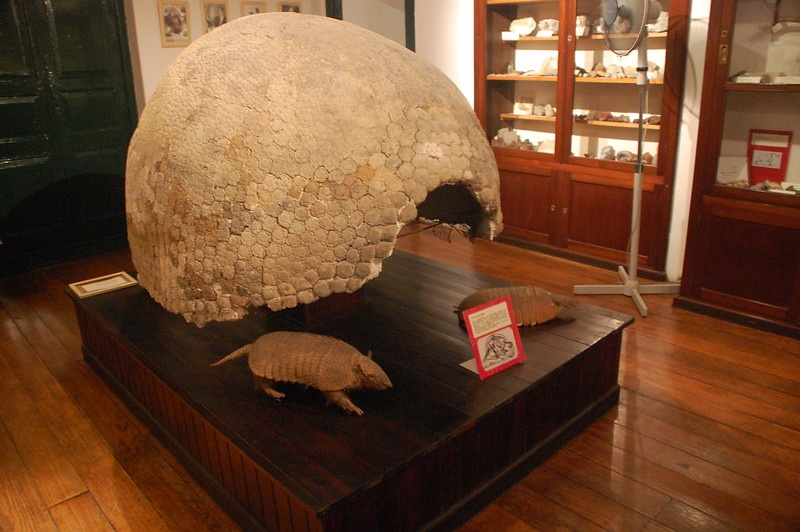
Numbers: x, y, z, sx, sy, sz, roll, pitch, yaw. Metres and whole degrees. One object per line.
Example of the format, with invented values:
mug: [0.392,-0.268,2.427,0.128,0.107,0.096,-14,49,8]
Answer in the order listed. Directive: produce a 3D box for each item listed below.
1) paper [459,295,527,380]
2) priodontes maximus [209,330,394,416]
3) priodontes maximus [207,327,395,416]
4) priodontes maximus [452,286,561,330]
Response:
paper: [0.517,0.398,3.119,0.337,0.389,0.016,-20,9,-22]
priodontes maximus: [-0.472,0.463,2.905,0.830,0.256,0.324,10,43,10]
priodontes maximus: [-0.476,0.514,2.875,0.829,0.254,0.324,10,42,10]
priodontes maximus: [0.693,0.218,3.434,0.494,0.111,0.283,-3,27,-3]
